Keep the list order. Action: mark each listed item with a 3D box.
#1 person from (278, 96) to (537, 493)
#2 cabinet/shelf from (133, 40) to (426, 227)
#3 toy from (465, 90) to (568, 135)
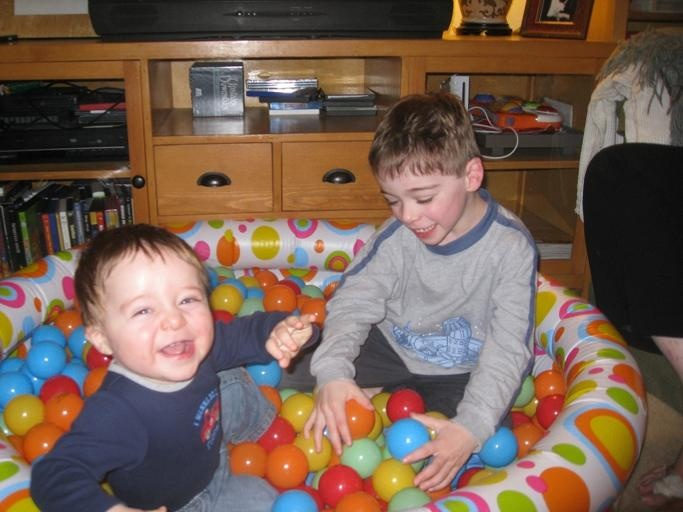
[{"bbox_3d":[0.195,0.068,1.460,0.547,0.909,0.525,3,15,18],"label":"person"},{"bbox_3d":[-0.231,-0.358,2.450,1.032,0.952,0.563,-1,5,1],"label":"cabinet/shelf"},{"bbox_3d":[0.688,-0.565,2.350,0.274,0.079,0.202,2,31,0],"label":"toy"}]
